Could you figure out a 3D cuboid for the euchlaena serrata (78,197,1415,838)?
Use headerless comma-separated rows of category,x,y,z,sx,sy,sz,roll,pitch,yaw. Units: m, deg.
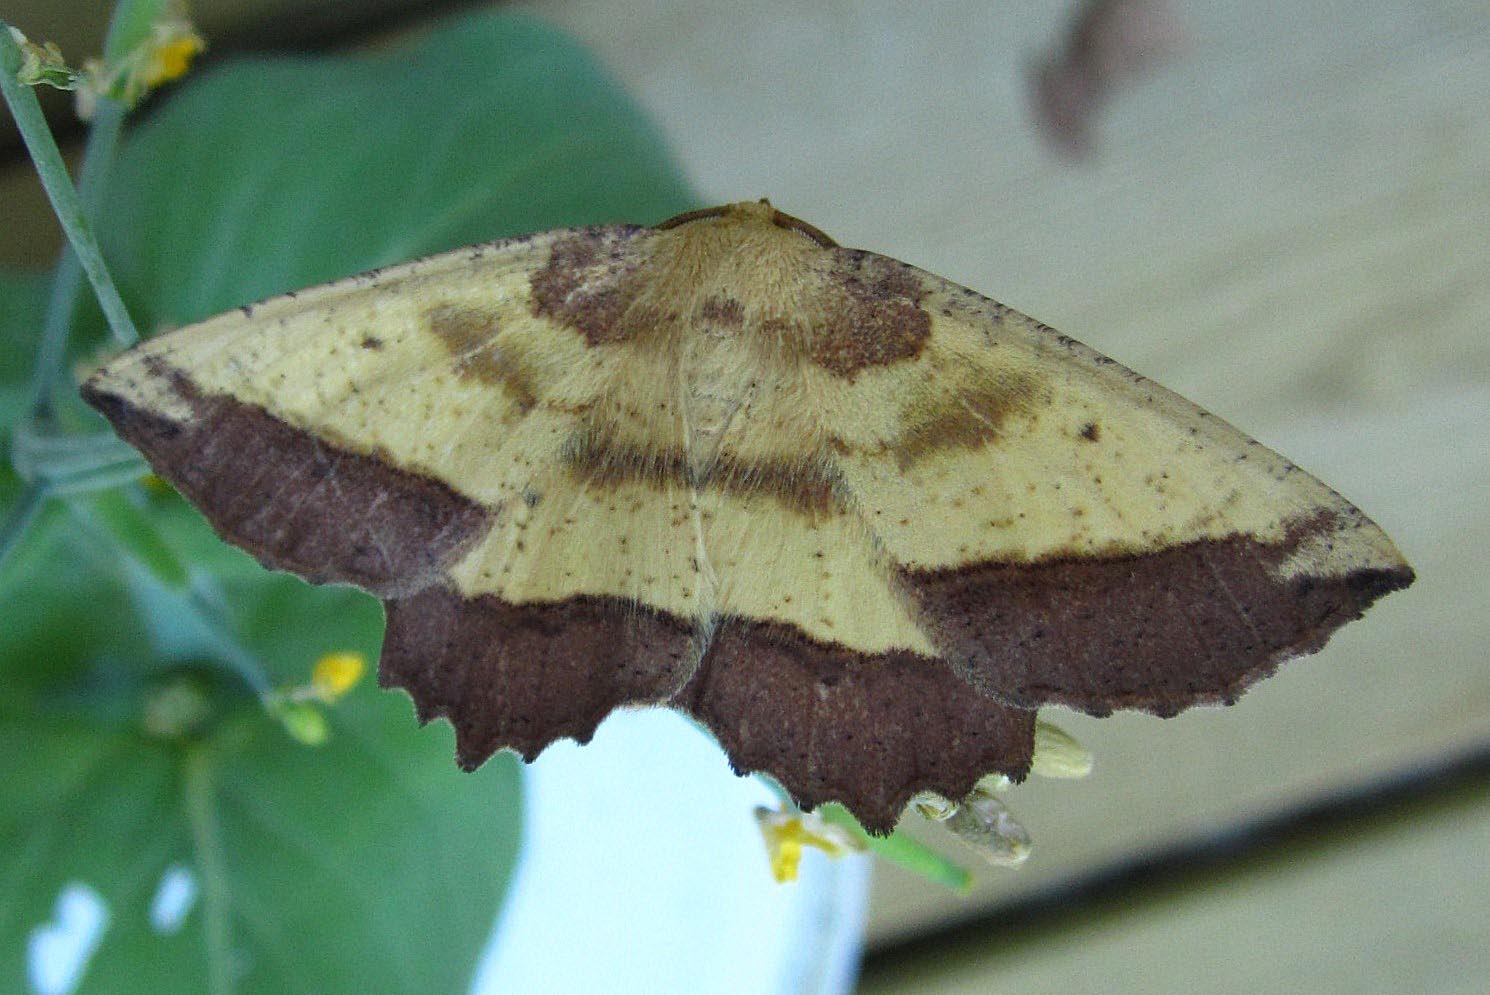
euchlaena serrata,0.005,0.021,1.091,0.762,0.241,0.340,14,62,13
